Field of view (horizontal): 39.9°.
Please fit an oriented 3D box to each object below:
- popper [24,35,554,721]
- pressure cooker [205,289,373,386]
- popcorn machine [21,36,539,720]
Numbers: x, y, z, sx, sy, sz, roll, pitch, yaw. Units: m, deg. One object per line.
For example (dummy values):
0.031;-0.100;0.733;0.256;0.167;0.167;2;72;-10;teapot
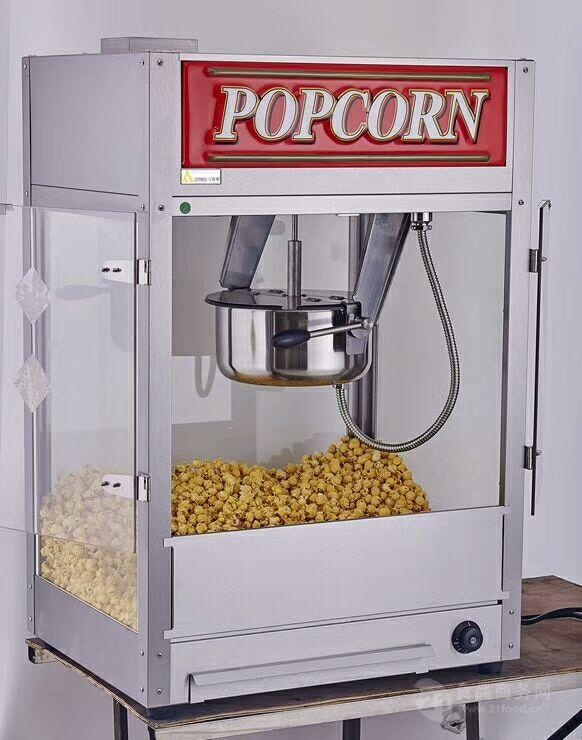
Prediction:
0.170;0.061;1.317;0.771;1.237;0.682;-3;5;-28;popper
-0.002;-0.063;1.049;0.143;0.148;0.172;-10;15;-31;pressure cooker
0.028;-0.011;1.086;0.479;0.744;0.422;-5;9;-18;popcorn machine
